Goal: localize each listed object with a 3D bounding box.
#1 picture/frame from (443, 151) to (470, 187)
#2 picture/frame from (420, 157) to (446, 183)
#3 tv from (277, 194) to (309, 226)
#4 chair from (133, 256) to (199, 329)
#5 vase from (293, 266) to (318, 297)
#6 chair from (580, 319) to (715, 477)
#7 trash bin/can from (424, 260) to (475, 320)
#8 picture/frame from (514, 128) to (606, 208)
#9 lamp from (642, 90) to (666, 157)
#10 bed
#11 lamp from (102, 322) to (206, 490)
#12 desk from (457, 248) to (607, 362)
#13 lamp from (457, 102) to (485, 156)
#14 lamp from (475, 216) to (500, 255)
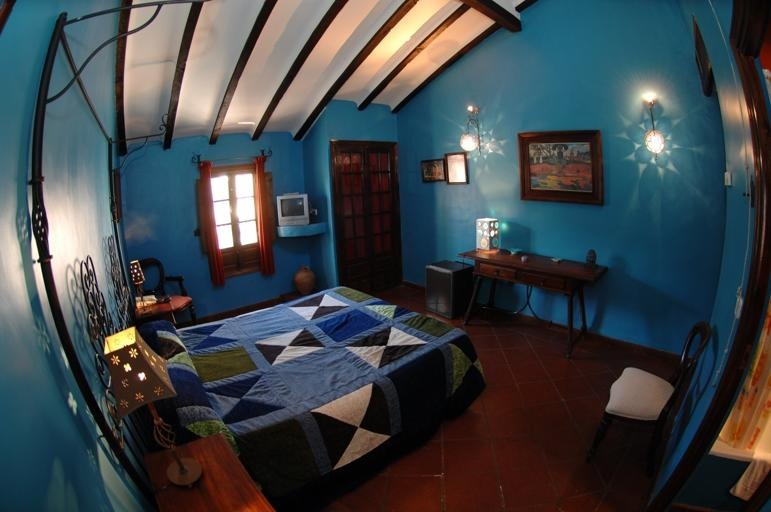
[{"bbox_3d":[0.885,-1.086,5.952,0.033,0.463,0.433,-9,9,-34],"label":"picture/frame"},{"bbox_3d":[0.630,-1.131,6.298,0.027,0.306,0.350,-7,9,-40],"label":"picture/frame"},{"bbox_3d":[-1.214,-0.597,6.397,0.375,0.406,0.400,-3,2,-36],"label":"tv"},{"bbox_3d":[-2.386,0.441,5.199,0.533,0.777,0.551,6,13,23],"label":"chair"},{"bbox_3d":[-1.103,0.334,6.740,0.353,0.441,0.366,1,7,9],"label":"vase"},{"bbox_3d":[1.812,1.003,3.369,0.456,0.987,0.560,19,50,33],"label":"chair"},{"bbox_3d":[0.786,0.404,5.935,0.398,0.564,0.505,-7,11,-33],"label":"trash bin/can"},{"bbox_3d":[1.801,-0.909,4.913,0.826,0.756,0.066,3,9,43],"label":"picture/frame"},{"bbox_3d":[2.374,-1.178,4.301,0.192,0.569,0.107,2,12,39],"label":"lamp"},{"bbox_3d":[-0.344,0.897,3.620,2.068,0.646,2.060,-22,37,-29],"label":"bed"},{"bbox_3d":[-1.216,0.766,2.498,0.358,0.813,0.445,-12,11,-33],"label":"lamp"},{"bbox_3d":[1.505,0.436,5.144,1.408,0.832,0.537,13,17,38],"label":"desk"},{"bbox_3d":[0.969,-1.486,5.680,0.160,0.579,0.326,-11,11,-29],"label":"lamp"},{"bbox_3d":[1.164,-0.247,5.513,0.186,0.353,0.180,-13,15,-43],"label":"lamp"}]
